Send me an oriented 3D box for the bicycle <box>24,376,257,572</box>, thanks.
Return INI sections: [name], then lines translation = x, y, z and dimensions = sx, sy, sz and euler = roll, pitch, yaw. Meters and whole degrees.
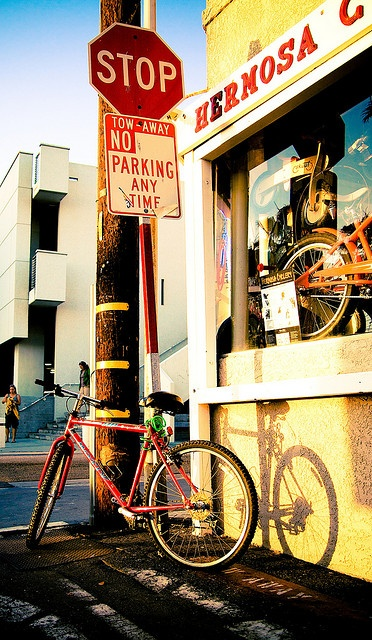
[bicycle]
translation = -0.113, 0.971, 3.669
dimensions = 1.700, 1.123, 0.791
euler = 2, -10, 37
